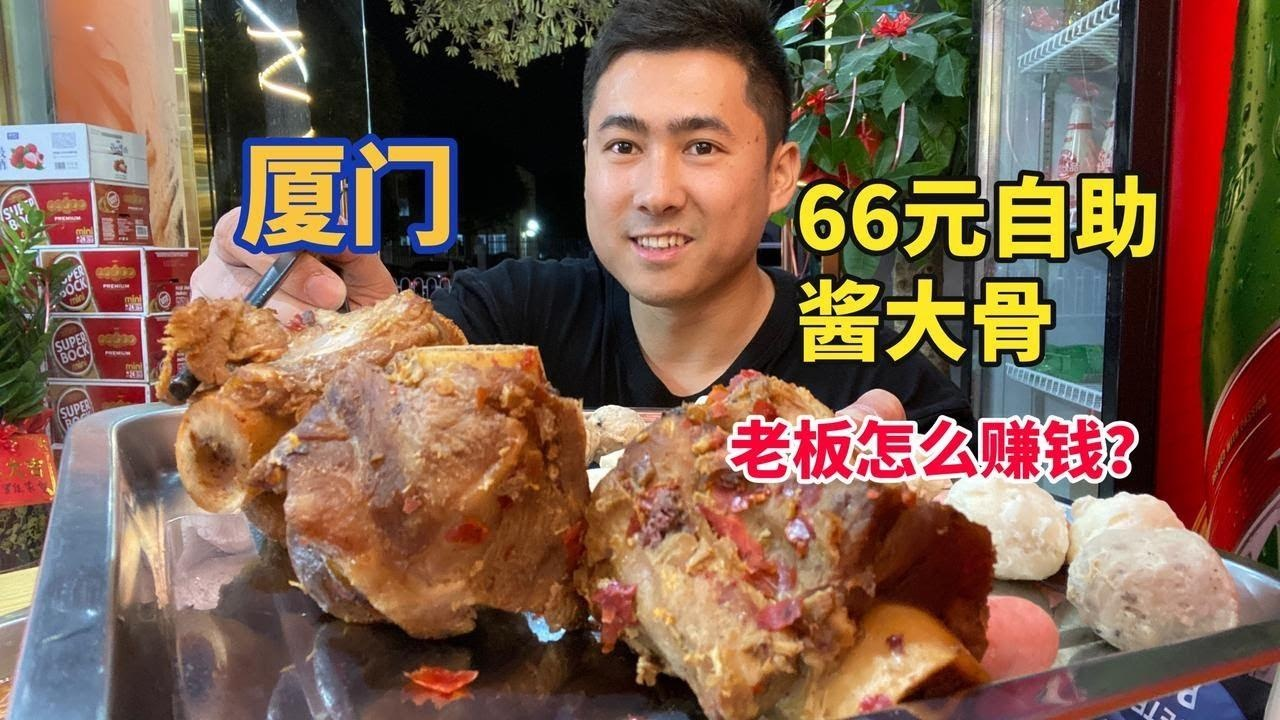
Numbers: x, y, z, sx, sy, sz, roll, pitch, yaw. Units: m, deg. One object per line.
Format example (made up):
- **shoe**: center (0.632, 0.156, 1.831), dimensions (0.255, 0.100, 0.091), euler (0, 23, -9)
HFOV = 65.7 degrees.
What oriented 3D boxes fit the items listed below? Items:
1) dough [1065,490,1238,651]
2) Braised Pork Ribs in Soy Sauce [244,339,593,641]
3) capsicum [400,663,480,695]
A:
- **dough**: center (1.437, 0.610, 2.827), dimensions (0.316, 0.142, 0.454), euler (-20, 33, 1)
- **Braised Pork Ribs in Soy Sauce**: center (-0.590, 0.339, 2.833), dimensions (0.767, 0.785, 0.349), euler (2, 4, 1)
- **capsicum**: center (-0.524, 0.851, 2.643), dimensions (0.125, 0.029, 0.087), euler (4, 17, -4)
